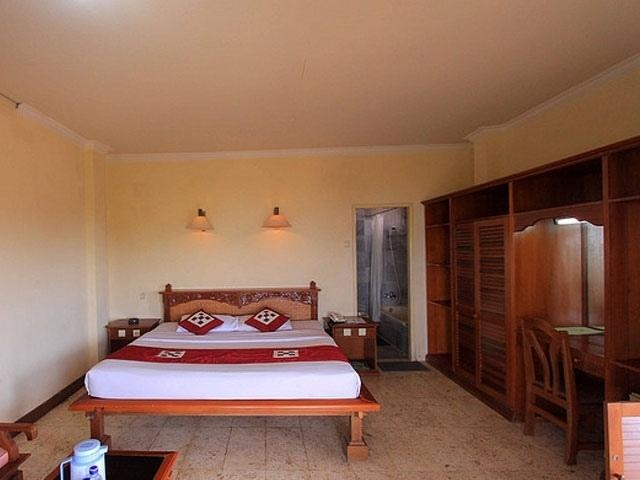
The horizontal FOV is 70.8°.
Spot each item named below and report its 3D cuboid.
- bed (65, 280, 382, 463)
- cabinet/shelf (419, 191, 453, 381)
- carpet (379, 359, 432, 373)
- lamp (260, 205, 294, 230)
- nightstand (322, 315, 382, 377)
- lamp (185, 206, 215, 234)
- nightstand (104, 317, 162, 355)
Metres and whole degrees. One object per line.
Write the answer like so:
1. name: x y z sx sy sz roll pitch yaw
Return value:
1. bed: -0.908 1.283 5.192 2.168 0.885 2.059 0 1 0
2. cabinet/shelf: 1.609 0.546 6.125 0.440 2.286 0.827 2 13 10
3. carpet: 1.133 1.708 6.147 0.662 0.036 0.452 0 10 1
4. lamp: -0.569 -0.286 6.129 0.387 0.329 0.492 -1 11 -5
5. nightstand: 0.392 1.384 5.993 0.788 0.626 0.710 0 0 -1
6. lamp: -1.646 -0.290 6.161 0.379 0.225 0.377 0 0 44
7. nightstand: -2.540 1.208 6.132 0.654 0.502 0.505 0 2 -12
